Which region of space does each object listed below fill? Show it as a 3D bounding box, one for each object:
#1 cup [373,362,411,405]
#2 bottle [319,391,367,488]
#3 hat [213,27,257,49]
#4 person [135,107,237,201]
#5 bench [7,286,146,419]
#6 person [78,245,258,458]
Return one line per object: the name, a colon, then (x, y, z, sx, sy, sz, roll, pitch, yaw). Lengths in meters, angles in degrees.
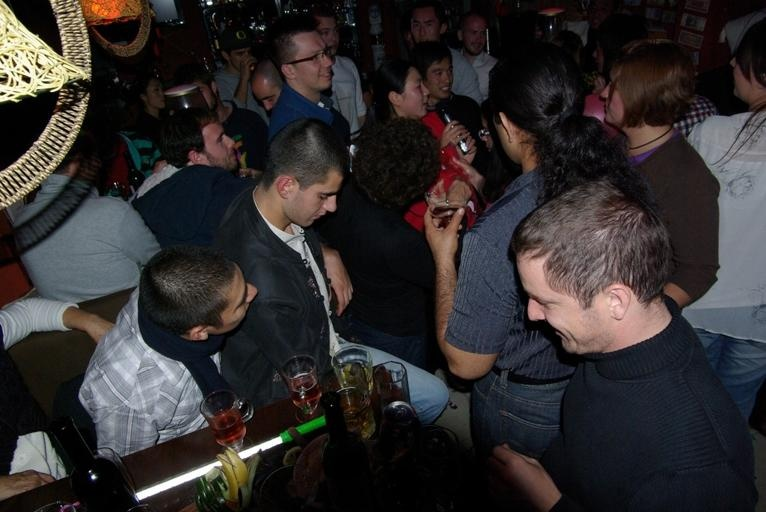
cup: (0.025, 0.579, 2.465, 0.139, 0.195, 0.207, -7, 27, 1)
bottle: (-0.153, 0.698, 1.968, 0.155, 0.361, 0.134, -4, 25, 5)
hat: (-1.526, -2.200, 5.293, 0.312, 0.215, 0.267, -10, 25, -9)
person: (-1.375, -0.737, 3.638, 0.617, 0.449, 0.766, -23, 32, 0)
bench: (-1.727, 0.565, 2.897, 0.494, 0.656, 0.507, -26, 44, -8)
person: (-1.038, 0.505, 2.562, 0.489, 0.438, 0.934, -7, -19, -21)
